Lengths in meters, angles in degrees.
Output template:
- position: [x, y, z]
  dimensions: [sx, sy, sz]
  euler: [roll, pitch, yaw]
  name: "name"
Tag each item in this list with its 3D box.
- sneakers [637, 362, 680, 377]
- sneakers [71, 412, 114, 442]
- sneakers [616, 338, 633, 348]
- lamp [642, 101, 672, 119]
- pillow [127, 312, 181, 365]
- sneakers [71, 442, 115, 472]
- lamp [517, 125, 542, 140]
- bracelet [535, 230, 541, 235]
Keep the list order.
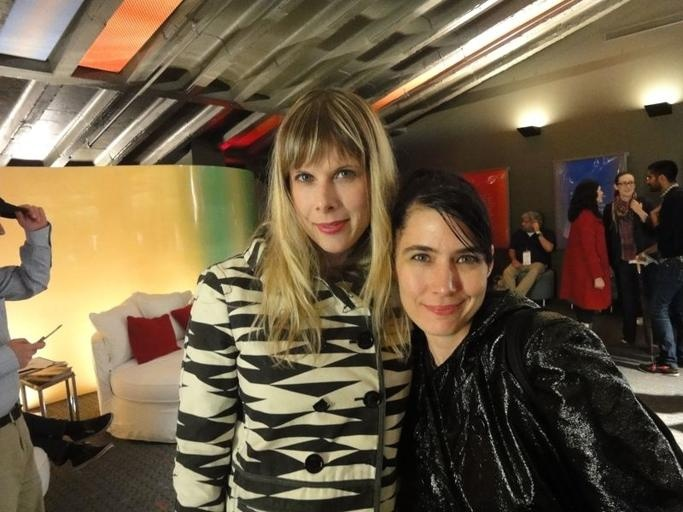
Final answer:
- position: [3.057, 1.091, 4.692]
  dimensions: [0.132, 0.121, 0.369]
  euler: [-1, -6, -38]
  name: "sneakers"
- position: [-2.127, 1.459, 4.140]
  dimensions: [0.424, 0.140, 0.166]
  euler: [-16, -37, -13]
  name: "sneakers"
- position: [3.264, 1.014, 5.633]
  dimensions: [0.058, 0.054, 0.154]
  euler: [-29, 21, -27]
  name: "sneakers"
- position: [4.290, -1.984, 6.606]
  dimensions: [0.303, 0.208, 0.335]
  euler: [3, 0, 40]
  name: "lamp"
- position: [-1.741, 0.780, 4.492]
  dimensions: [0.218, 0.301, 0.471]
  euler: [-10, 1, 39]
  name: "pillow"
- position: [-2.045, 1.568, 3.874]
  dimensions: [0.364, 0.142, 0.126]
  euler: [-21, -2, -43]
  name: "sneakers"
- position: [3.017, -2.016, 7.913]
  dimensions: [0.365, 0.177, 0.339]
  euler: [2, 0, 34]
  name: "lamp"
- position: [3.060, -0.361, 7.607]
  dimensions: [0.064, 0.046, 0.055]
  euler: [-12, 21, 14]
  name: "bracelet"
